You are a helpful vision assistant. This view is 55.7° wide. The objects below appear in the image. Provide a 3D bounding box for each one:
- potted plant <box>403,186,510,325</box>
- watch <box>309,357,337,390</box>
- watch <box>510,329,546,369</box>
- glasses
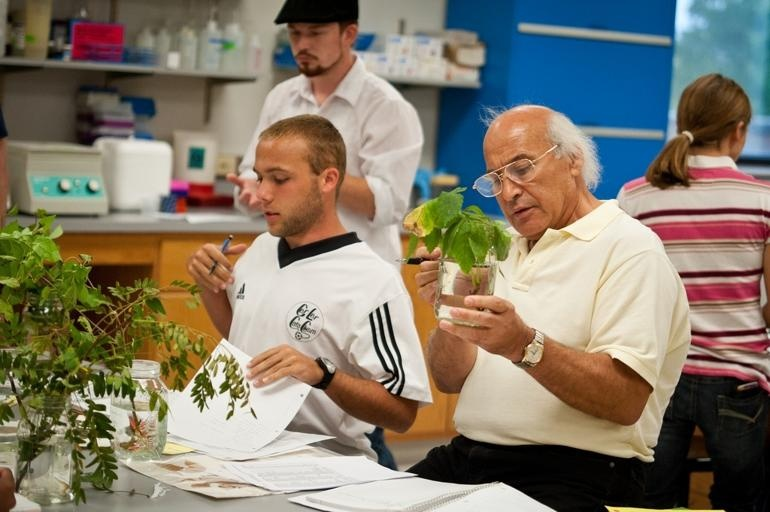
[{"bbox_3d":[0.190,-0.016,1.973,0.310,0.398,0.326,0,3,7],"label":"potted plant"},{"bbox_3d":[-0.168,0.320,1.987,0.049,0.071,0.078,27,-14,45],"label":"watch"},{"bbox_3d":[0.390,0.246,1.944,0.069,0.109,0.100,20,-8,-20],"label":"watch"},{"bbox_3d":[0.365,-0.231,2.100,0.179,0.052,0.173,-31,0,-43],"label":"glasses"}]
